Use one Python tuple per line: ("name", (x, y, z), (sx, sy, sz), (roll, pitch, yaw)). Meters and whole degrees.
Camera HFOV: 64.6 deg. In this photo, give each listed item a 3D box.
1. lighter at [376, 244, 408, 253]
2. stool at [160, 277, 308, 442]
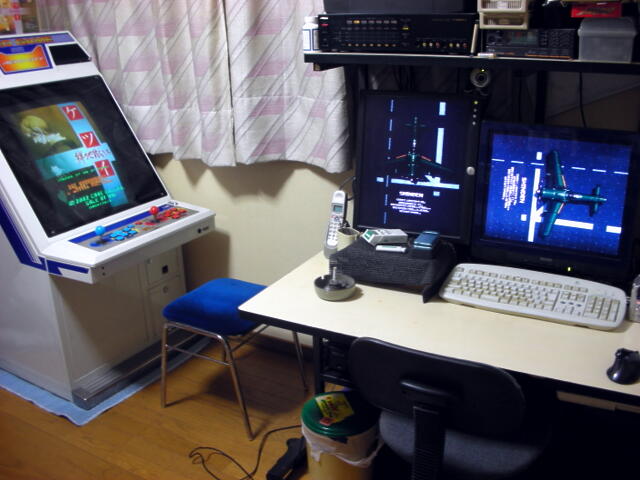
("lighter", (0.266, 0.033, 1.866), (0.122, 0.028, 0.038), (3, 23, 8))
("stool", (-0.412, 0.432, 2.579), (0.715, 0.689, 0.746), (13, 25, 23))
